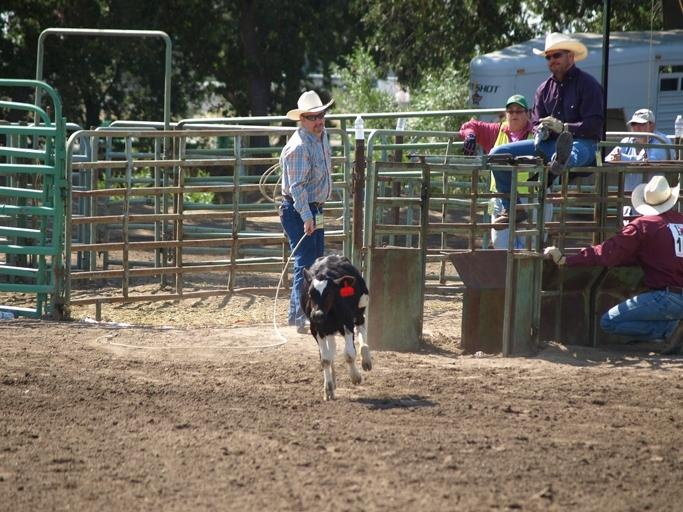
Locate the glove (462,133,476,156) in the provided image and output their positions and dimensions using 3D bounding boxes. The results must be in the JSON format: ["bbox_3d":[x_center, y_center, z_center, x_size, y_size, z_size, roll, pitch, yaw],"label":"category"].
[{"bbox_3d":[1.689,-1.476,15.333,0.198,0.257,0.107,5,-13,4],"label":"glove"}]

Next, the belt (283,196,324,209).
[{"bbox_3d":[-0.543,-0.687,14.689,0.214,0.111,0.299,-1,-5,27],"label":"belt"}]

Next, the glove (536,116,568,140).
[{"bbox_3d":[2.632,-1.622,14.699,0.265,0.138,0.316,12,-19,14],"label":"glove"}]

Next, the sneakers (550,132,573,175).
[{"bbox_3d":[2.717,-1.286,14.456,0.194,0.557,0.219,15,23,11],"label":"sneakers"}]

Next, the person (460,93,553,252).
[{"bbox_3d":[2.326,-1.270,15.487,1.295,1.866,1.062,-5,-7,33],"label":"person"}]

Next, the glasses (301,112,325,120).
[{"bbox_3d":[-0.352,-1.714,14.264,0.270,0.106,0.124,0,2,-14],"label":"glasses"}]

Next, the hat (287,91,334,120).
[{"bbox_3d":[-0.421,-1.854,14.457,0.481,0.228,0.545,-22,2,-11],"label":"hat"}]

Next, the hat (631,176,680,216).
[{"bbox_3d":[3.962,-0.812,14.489,0.457,0.216,0.562,25,56,37],"label":"hat"}]

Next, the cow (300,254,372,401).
[{"bbox_3d":[-0.065,0.809,13.075,0.772,1.599,0.854,1,2,15],"label":"cow"}]
